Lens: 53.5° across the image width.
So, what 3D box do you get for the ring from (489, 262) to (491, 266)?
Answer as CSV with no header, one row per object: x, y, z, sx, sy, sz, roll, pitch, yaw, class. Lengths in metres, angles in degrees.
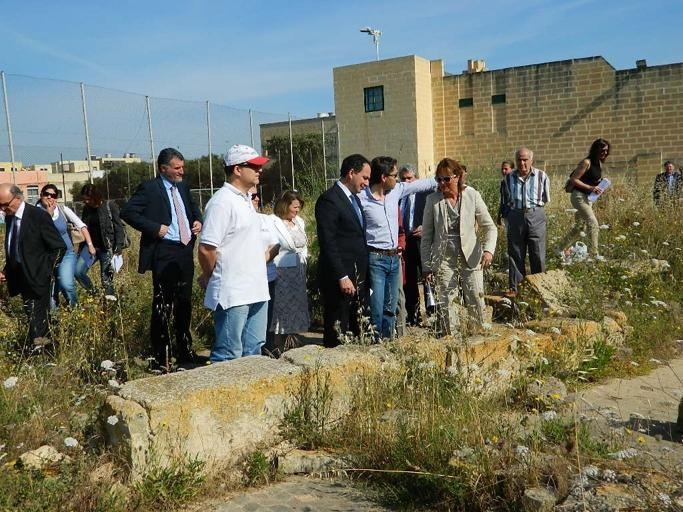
1.659,0.086,7.536,0.026,0.034,0.031,9,33,19,ring

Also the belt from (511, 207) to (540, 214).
2.528,-0.635,9.284,0.347,0.091,0.093,4,14,18,belt

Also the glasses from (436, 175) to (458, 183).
1.176,-0.858,7.504,0.206,0.084,0.107,3,14,15,glasses

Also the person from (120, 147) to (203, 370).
-1.975,0.055,7.586,0.730,2.429,1.134,2,12,11,person

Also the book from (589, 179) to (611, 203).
3.864,-0.963,10.117,0.088,0.356,0.332,31,56,31,book

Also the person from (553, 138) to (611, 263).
3.729,-0.901,10.410,0.662,1.792,0.572,4,12,22,person

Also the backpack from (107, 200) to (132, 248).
-3.352,-0.441,10.040,0.334,0.744,0.423,-8,-3,-25,backpack

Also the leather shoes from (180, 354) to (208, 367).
-1.681,1.178,7.630,0.189,0.118,0.289,-2,-6,2,leather shoes

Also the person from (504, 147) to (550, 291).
2.588,-0.520,9.389,0.576,2.004,0.543,-2,20,14,person

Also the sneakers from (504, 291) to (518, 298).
2.304,0.503,9.182,0.172,0.134,0.068,-6,10,-18,sneakers

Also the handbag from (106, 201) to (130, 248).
-3.364,-0.407,10.050,0.317,0.777,0.459,-6,-7,-10,handbag

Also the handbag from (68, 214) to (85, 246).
-3.810,-0.374,9.673,0.300,0.518,0.195,-9,-5,36,handbag

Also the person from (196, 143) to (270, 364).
-0.950,0.036,6.256,0.578,2.047,0.753,10,15,41,person

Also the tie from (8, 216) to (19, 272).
-3.692,-0.170,7.613,0.028,0.379,0.080,5,-4,39,tie

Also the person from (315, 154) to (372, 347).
0.041,-0.016,7.232,0.664,2.034,0.629,-7,13,-28,person

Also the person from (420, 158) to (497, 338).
1.341,0.049,7.730,0.737,2.409,0.710,-4,21,8,person
